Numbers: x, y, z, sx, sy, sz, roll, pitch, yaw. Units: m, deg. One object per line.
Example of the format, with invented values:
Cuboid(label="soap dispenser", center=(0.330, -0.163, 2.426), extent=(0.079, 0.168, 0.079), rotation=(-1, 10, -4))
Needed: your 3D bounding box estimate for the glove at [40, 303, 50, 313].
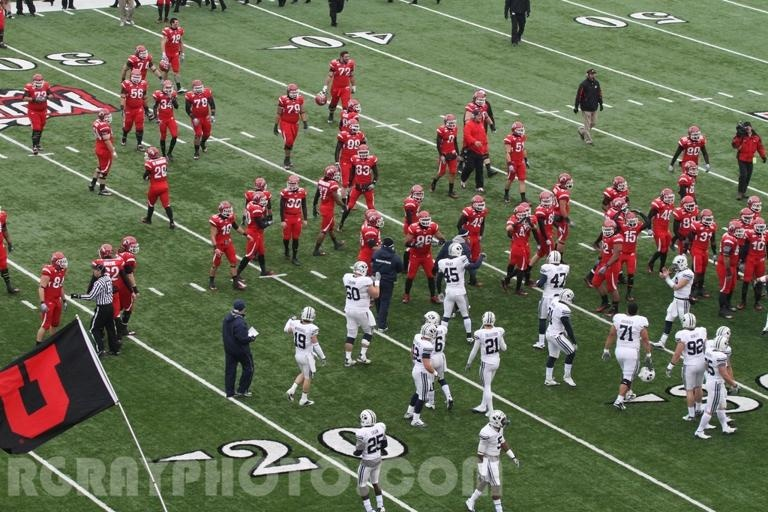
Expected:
Cuboid(label="glove", center=(-7.115, 1.104, 26.253), extent=(0.137, 0.270, 0.248), rotation=(2, 26, -23))

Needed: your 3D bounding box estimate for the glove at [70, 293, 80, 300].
Cuboid(label="glove", center=(-6.394, 0.863, 26.021), extent=(0.151, 0.137, 0.389), rotation=(1, -5, -26))
